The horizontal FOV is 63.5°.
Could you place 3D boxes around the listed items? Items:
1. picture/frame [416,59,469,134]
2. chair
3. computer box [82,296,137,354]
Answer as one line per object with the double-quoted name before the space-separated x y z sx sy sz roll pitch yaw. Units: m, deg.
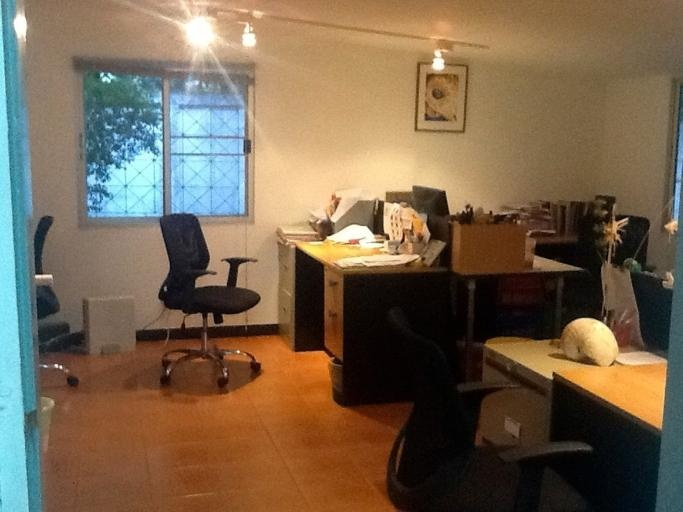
"picture/frame" 0.783 -1.257 4.245 0.497 0.632 0.047 4 3 0
"chair" -1.315 0.228 3.580 0.951 1.254 1.316 1 0 -44
"computer box" -1.587 0.470 3.766 0.361 0.426 0.236 -1 3 -29
